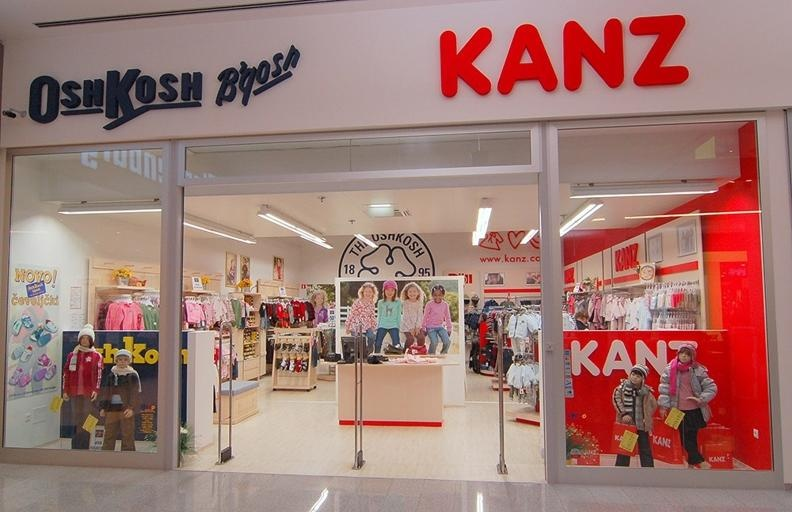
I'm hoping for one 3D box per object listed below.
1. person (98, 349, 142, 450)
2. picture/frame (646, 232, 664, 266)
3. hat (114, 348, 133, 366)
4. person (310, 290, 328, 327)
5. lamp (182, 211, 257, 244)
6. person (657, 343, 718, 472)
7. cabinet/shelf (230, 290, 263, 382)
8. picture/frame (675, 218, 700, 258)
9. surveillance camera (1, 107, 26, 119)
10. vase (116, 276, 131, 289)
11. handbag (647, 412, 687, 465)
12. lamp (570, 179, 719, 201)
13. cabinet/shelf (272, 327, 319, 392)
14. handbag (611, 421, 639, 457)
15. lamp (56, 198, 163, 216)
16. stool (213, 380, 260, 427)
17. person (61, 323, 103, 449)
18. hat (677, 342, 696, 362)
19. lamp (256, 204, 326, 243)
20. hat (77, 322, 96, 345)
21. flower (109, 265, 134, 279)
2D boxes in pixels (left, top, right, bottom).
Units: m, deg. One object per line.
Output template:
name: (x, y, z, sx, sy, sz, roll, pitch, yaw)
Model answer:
person: (-3.163, 1.671, 6.454, 0.467, 1.133, 0.146, -2, -9, 14)
picture/frame: (2.779, -0.089, 6.004, 0.165, 0.315, 0.044, 0, -9, 0)
hat: (-3.139, 1.184, 6.470, 0.147, 0.212, 0.107, 7, 1, -18)
person: (-2.017, 1.360, 14.929, 0.440, 0.989, 1.137, 1, -9, -8)
lamp: (-3.265, -0.496, 10.193, 0.164, 0.342, 2.306, -4, -7, 24)
person: (3.086, 1.583, 5.899, 0.571, 1.292, 0.166, 1, -9, -5)
cabinet/shelf: (-3.313, 1.900, 12.947, 0.516, 2.054, 0.905, 8, 5, -14)
picture/frame: (3.106, -0.190, 5.974, 0.213, 0.380, 0.036, -2, -9, 10)
surveillance camera: (-4.509, -1.702, 6.605, 0.307, 0.119, 0.075, -1, -9, 5)
vase: (-3.042, 0.299, 6.265, 0.111, 0.093, 0.120, -1, -13, -10)
handbag: (2.912, 1.909, 6.010, 0.241, 0.417, 0.316, 6, -4, -37)
lamp: (2.677, -0.723, 6.060, 1.556, 0.179, 0.048, -1, -9, 4)
cabinet/shelf: (-2.024, 1.984, 11.016, 0.766, 1.148, 0.951, 2, -4, -10)
handbag: (2.485, 1.993, 6.068, 0.279, 0.379, 0.213, -2, -25, 41)
lamp: (-3.357, -0.565, 6.708, 1.212, 0.179, 0.127, 1, -6, 5)
stool: (-2.358, 2.195, 8.228, 0.547, 0.520, 1.038, 0, -4, 2)
person: (-3.630, 1.568, 6.489, 0.445, 1.311, 0.150, -3, -9, 16)
hat: (3.072, 1.023, 5.926, 0.163, 0.201, 0.196, 0, -16, 24)
lamp: (-1.855, -0.554, 10.091, 0.271, 0.166, 2.136, -34, -16, 10)
hat: (-3.544, 0.899, 6.500, 0.158, 0.230, 0.221, 0, -8, -17)
flower: (-3.070, 0.193, 6.317, 0.164, 0.104, 0.164, -1, -2, -41)
